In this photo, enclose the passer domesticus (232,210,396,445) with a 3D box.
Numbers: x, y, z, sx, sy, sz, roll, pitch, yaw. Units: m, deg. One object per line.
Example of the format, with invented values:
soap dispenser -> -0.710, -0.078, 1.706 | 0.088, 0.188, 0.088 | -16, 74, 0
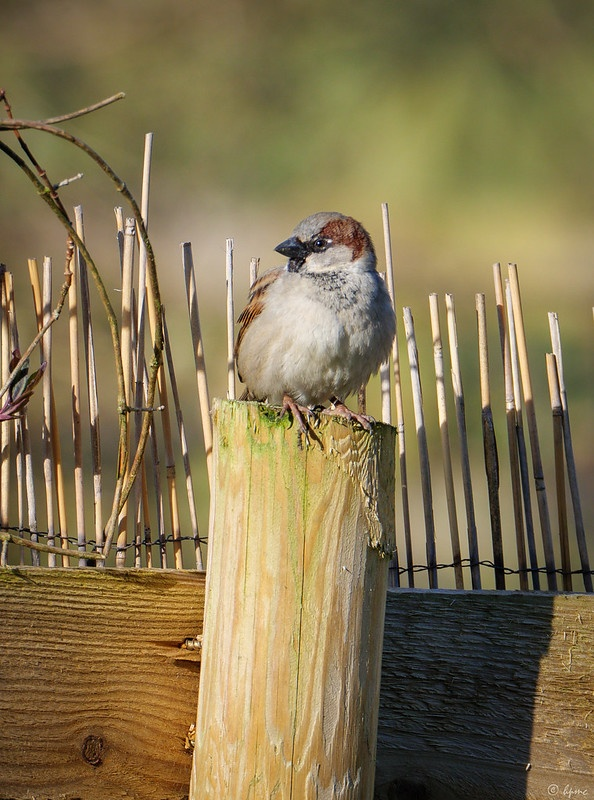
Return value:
passer domesticus -> -0.001, -0.281, 4.530 | 0.381, 0.752, 0.622 | -3, 11, -29
